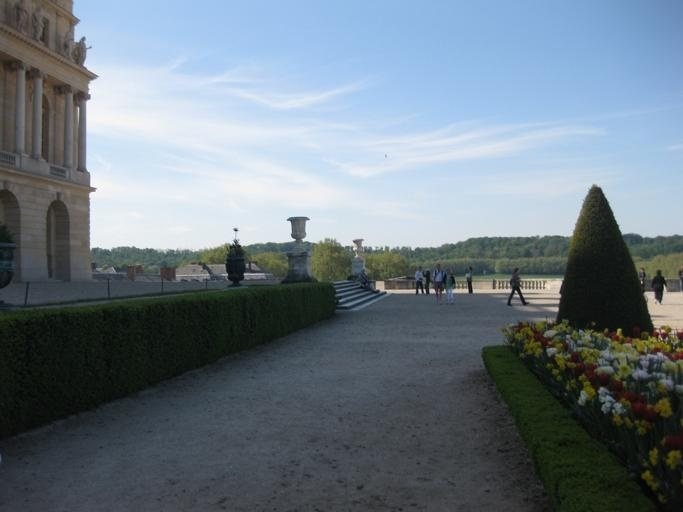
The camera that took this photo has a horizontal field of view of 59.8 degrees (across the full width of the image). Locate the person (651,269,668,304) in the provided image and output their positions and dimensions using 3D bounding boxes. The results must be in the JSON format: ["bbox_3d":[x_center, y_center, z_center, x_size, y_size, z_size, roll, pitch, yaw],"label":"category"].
[{"bbox_3d":[14.897,1.419,27.984,0.441,1.536,2.147,0,3,26],"label":"person"}]

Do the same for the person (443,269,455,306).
[{"bbox_3d":[4.813,1.401,26.741,0.401,1.612,2.074,-1,2,10],"label":"person"}]
